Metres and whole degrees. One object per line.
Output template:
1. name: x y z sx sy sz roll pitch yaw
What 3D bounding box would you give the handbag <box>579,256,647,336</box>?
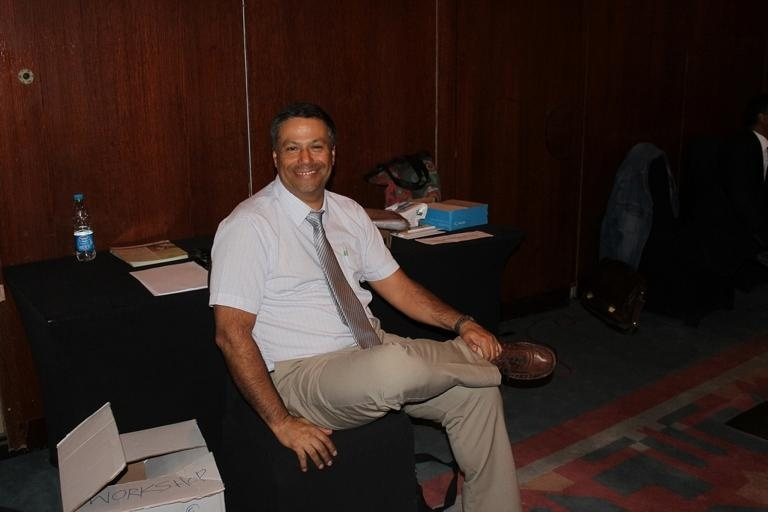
1. handbag: 1.867 0.338 4.497 0.220 0.443 0.475 16 11 -32

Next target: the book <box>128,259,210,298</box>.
1. book: -1.089 0.113 2.887 0.243 0.020 0.261 -9 22 -32

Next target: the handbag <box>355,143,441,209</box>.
1. handbag: 0.105 -0.525 3.891 0.487 0.413 0.341 -8 -9 7
